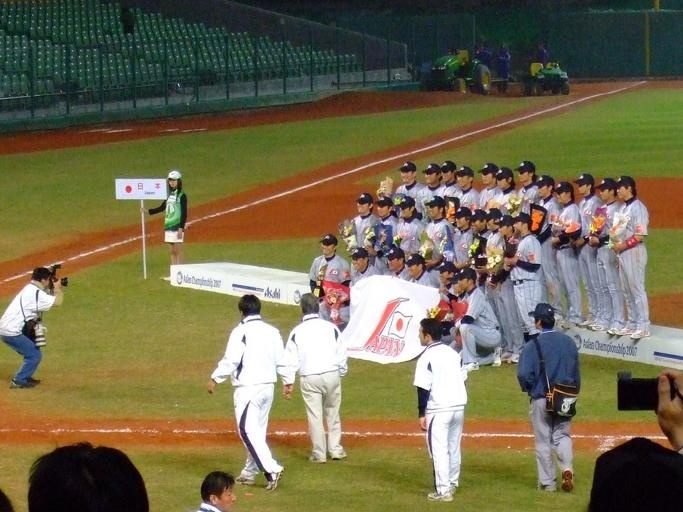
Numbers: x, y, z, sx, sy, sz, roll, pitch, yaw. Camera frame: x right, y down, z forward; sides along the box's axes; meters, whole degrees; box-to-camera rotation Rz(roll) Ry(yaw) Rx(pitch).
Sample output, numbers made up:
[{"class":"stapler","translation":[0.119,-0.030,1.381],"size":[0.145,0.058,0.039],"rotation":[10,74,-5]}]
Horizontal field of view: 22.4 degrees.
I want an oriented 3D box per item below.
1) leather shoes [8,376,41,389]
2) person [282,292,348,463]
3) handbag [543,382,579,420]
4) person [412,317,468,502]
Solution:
[{"class":"leather shoes","translation":[-7.119,2.850,38.539],"size":[0.646,0.304,0.242],"rotation":[-2,11,-4]},{"class":"person","translation":[-0.518,2.570,36.072],"size":[1.390,3.597,0.897],"rotation":[-6,4,-20]},{"class":"handbag","translation":[4.489,2.968,34.941],"size":[0.680,0.693,0.369],"rotation":[12,-9,-29]},{"class":"person","translation":[2.018,3.102,34.701],"size":[0.997,3.546,0.935],"rotation":[-1,8,3]}]
